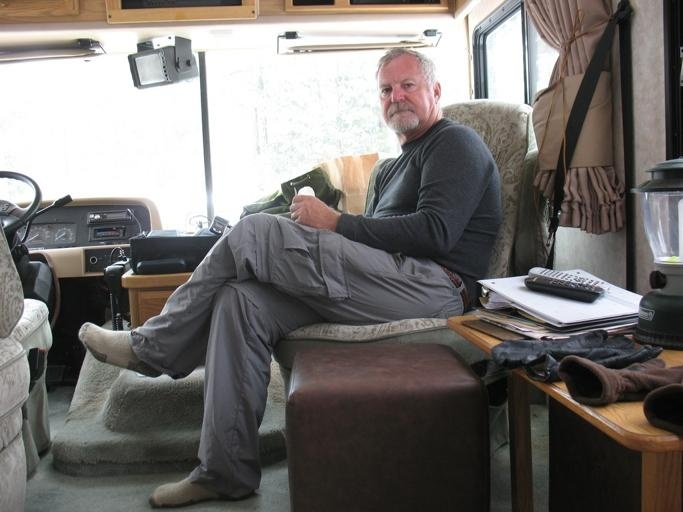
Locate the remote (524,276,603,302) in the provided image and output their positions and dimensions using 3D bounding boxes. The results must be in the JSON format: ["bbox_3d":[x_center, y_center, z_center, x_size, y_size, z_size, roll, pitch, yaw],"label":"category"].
[{"bbox_3d":[0.586,0.075,1.432,0.132,0.032,0.070,7,6,30],"label":"remote"}]

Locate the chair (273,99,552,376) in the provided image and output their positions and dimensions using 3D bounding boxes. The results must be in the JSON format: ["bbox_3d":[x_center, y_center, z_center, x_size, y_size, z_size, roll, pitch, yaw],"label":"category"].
[{"bbox_3d":[0.480,-0.043,2.166,0.730,0.991,0.837,3,34,29],"label":"chair"}]

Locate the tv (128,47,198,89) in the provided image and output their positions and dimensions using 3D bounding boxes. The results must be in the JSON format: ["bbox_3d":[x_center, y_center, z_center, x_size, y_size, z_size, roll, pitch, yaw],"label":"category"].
[{"bbox_3d":[-1.143,-1.212,3.465,0.338,0.230,0.260,3,23,31],"label":"tv"}]
